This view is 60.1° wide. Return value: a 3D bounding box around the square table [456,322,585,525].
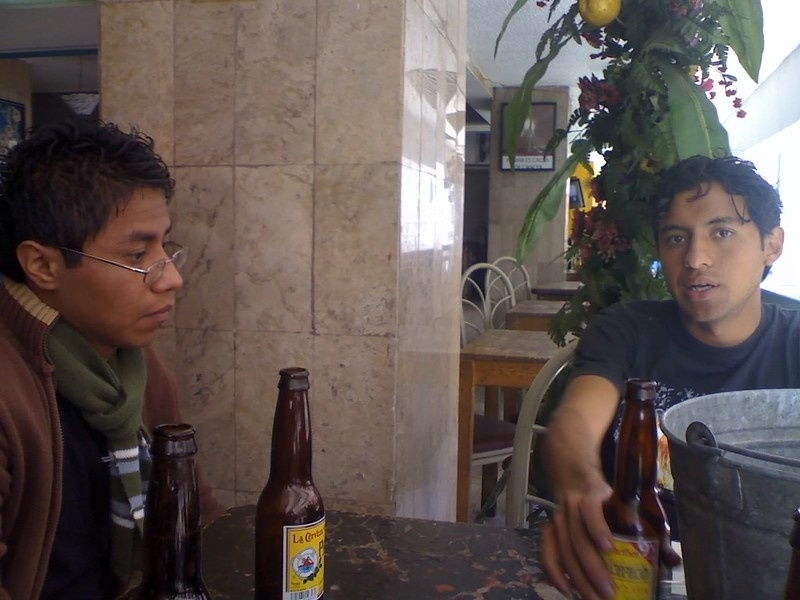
[{"bbox_3d":[0.405,0.366,3.174,0.697,0.871,0.938,4,6,8],"label":"square table"}]
